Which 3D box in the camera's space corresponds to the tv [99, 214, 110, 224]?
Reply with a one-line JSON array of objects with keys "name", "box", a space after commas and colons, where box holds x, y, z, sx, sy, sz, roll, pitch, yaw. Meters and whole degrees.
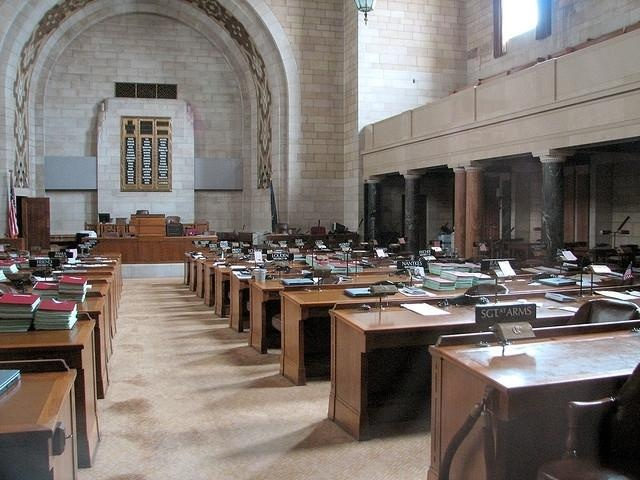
[{"name": "tv", "box": [-7.640, -0.807, 17.450, 0.404, 0.335, 0.330, -2, 3, -29]}]

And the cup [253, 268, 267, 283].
[{"name": "cup", "box": [-0.772, 0.436, 6.308, 0.176, 0.151, 0.146, -2, -1, 28]}]
